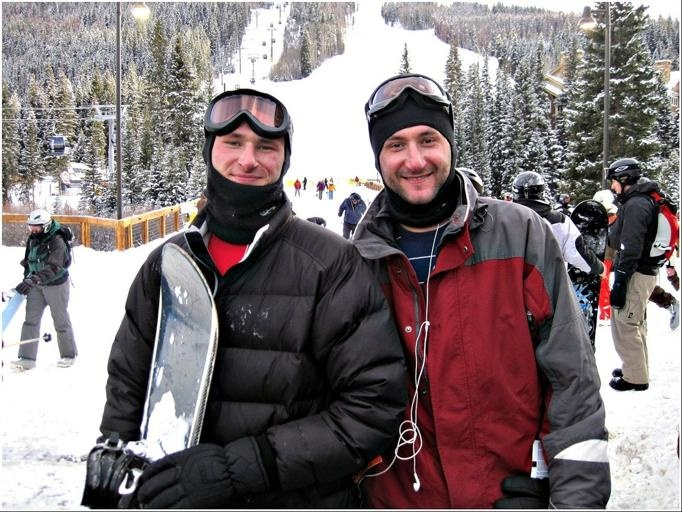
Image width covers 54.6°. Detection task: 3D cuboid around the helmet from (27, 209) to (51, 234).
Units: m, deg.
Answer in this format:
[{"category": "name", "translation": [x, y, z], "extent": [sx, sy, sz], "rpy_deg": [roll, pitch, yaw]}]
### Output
[{"category": "helmet", "translation": [-4.203, -0.480, 9.196], "extent": [0.297, 0.326, 0.375], "rpy_deg": [-3, 9, -15]}]

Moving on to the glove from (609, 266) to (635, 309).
[{"category": "glove", "translation": [3.308, 0.386, 7.832], "extent": [0.237, 0.484, 0.110], "rpy_deg": [5, -1, 29]}]

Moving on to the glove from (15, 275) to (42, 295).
[{"category": "glove", "translation": [-4.307, 0.385, 9.100], "extent": [0.363, 0.228, 0.106], "rpy_deg": [-46, 17, -23]}]

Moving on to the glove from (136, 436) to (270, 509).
[{"category": "glove", "translation": [-0.798, 1.353, 3.877], "extent": [0.690, 0.393, 0.289], "rpy_deg": [-13, -31, -2]}]

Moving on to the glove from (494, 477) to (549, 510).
[{"category": "glove", "translation": [1.068, 1.409, 3.884], "extent": [0.235, 0.201, 0.264], "rpy_deg": [-19, -12, 25]}]

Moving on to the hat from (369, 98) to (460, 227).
[{"category": "hat", "translation": [0.540, -0.613, 4.508], "extent": [0.522, 0.832, 0.724], "rpy_deg": [-4, 10, 3]}]

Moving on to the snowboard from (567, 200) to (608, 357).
[{"category": "snowboard", "translation": [2.654, 0.177, 7.084], "extent": [0.402, 2.198, 0.286], "rpy_deg": [4, -10, 22]}]

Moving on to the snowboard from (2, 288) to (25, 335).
[{"category": "snowboard", "translation": [-4.753, 0.811, 9.553], "extent": [0.215, 0.765, 0.116], "rpy_deg": [30, -3, -34]}]

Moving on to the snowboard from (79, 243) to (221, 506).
[{"category": "snowboard", "translation": [-1.090, 0.780, 4.016], "extent": [0.538, 2.286, 0.379], "rpy_deg": [3, -6, 32]}]

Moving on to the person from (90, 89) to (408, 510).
[{"category": "person", "translation": [-0.371, 0.272, 3.970], "extent": [1.456, 2.561, 0.854], "rpy_deg": [0, 8, 4]}]

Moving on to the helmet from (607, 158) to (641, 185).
[{"category": "helmet", "translation": [3.678, -1.106, 8.554], "extent": [0.363, 0.339, 0.312], "rpy_deg": [16, 16, 38]}]

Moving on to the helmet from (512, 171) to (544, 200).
[{"category": "helmet", "translation": [2.183, -0.807, 7.698], "extent": [0.260, 0.379, 0.376], "rpy_deg": [5, 36, 13]}]

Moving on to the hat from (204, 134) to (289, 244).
[{"category": "hat", "translation": [-0.605, -0.392, 4.430], "extent": [0.482, 0.544, 0.648], "rpy_deg": [6, 2, -2]}]

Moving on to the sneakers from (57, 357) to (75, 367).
[{"category": "sneakers", "translation": [-3.822, 1.490, 9.145], "extent": [0.090, 0.114, 0.251], "rpy_deg": [-1, -11, -2]}]
